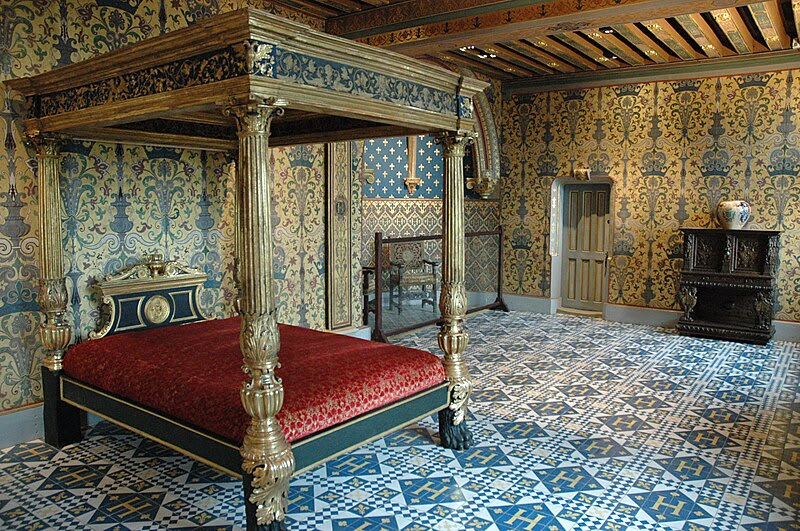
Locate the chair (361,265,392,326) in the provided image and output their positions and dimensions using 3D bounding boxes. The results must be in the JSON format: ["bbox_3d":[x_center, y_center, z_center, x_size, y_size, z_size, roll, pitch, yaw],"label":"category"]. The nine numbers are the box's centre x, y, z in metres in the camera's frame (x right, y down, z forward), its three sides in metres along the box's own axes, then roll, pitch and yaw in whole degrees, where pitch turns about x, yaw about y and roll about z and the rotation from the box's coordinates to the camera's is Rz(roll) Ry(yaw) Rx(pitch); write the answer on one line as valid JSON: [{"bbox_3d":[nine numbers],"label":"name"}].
[{"bbox_3d":[-0.316,0.485,9.935,0.799,1.067,0.696,2,-6,3],"label":"chair"}]

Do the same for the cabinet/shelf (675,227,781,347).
[{"bbox_3d":[5.524,0.357,9.076,2.030,2.313,1.007,3,5,38],"label":"cabinet/shelf"}]

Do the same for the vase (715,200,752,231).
[{"bbox_3d":[5.585,-0.802,9.196,0.535,0.487,0.524,-1,-3,-43],"label":"vase"}]
